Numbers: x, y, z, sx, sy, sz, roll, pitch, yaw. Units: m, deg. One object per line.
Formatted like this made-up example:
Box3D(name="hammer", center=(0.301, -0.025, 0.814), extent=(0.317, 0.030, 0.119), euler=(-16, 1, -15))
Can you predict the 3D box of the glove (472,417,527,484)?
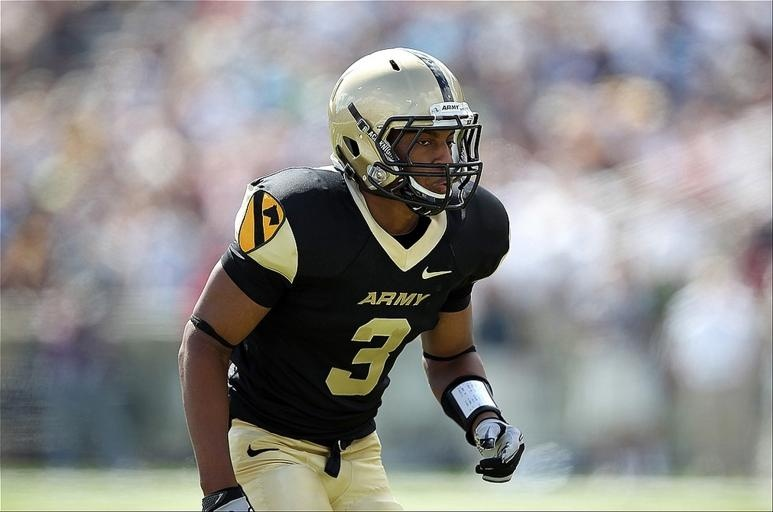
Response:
Box3D(name="glove", center=(0.604, 1.039, 5.700), extent=(0.317, 0.333, 0.155), euler=(-21, 36, 52))
